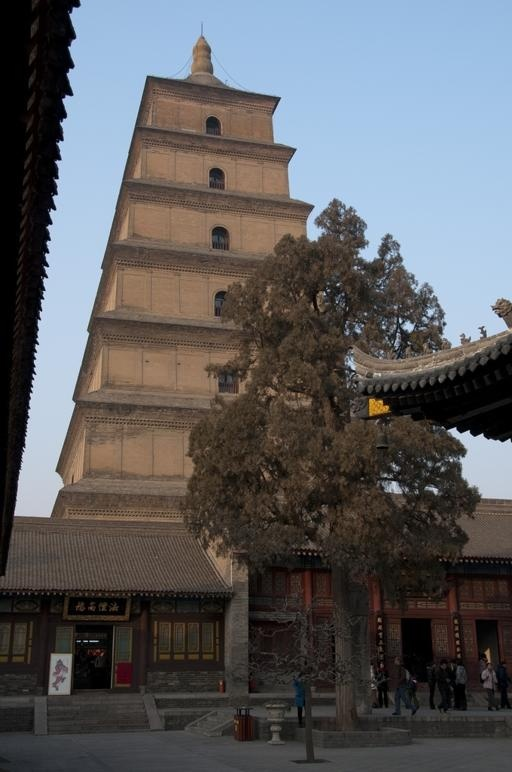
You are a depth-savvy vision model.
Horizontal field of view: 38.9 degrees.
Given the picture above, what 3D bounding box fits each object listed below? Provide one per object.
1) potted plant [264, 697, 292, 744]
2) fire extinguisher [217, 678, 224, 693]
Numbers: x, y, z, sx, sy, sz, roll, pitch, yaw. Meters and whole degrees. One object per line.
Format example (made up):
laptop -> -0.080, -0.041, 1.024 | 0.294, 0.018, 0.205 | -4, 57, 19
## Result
potted plant -> 0.381, 6.371, 13.726 | 0.681, 0.871, 0.688 | 3, -31, -4
fire extinguisher -> -0.864, 7.368, 17.869 | 0.155, 0.404, 0.228 | 8, -20, -23
